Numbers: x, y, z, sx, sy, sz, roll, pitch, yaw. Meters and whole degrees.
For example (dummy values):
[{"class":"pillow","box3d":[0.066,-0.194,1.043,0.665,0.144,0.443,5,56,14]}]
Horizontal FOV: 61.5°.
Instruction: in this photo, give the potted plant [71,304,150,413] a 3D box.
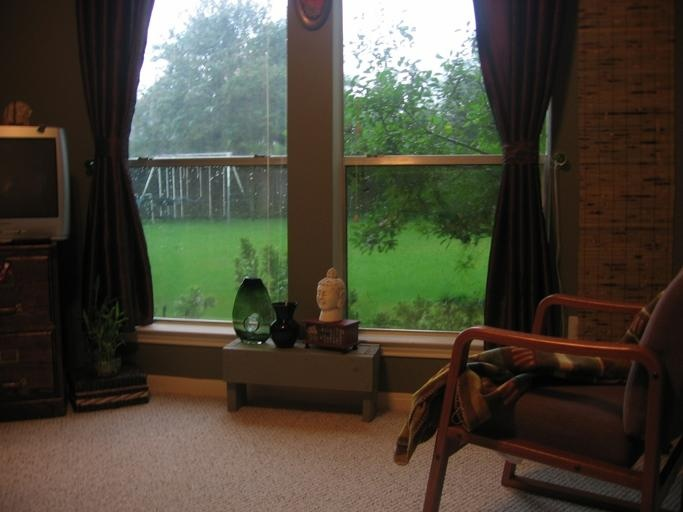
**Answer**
[{"class":"potted plant","box3d":[-1.418,0.573,3.435,0.411,0.563,0.396,-6,13,-27]}]

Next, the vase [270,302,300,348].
[{"class":"vase","box3d":[-0.327,0.386,3.204,0.217,0.301,0.220,1,-6,-18]}]
